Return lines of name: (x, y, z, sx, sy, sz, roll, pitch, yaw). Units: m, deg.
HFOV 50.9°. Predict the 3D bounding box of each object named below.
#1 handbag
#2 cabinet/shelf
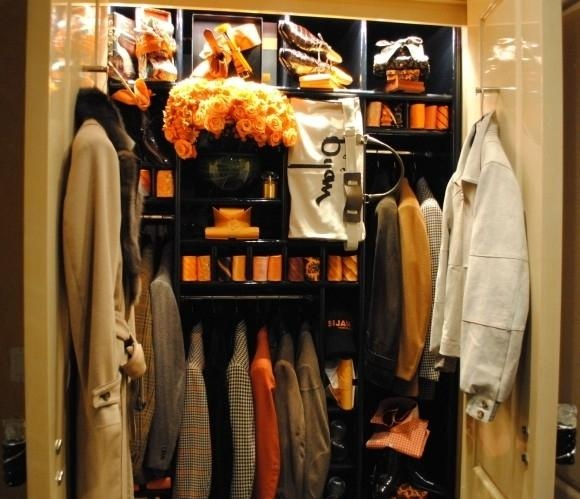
handbag: (0.239, -0.344, 2.746, 0.551, 0.900, 0.317, 1, -2, -7)
cabinet/shelf: (0.032, 0.028, 2.880, 1.455, 2.312, 0.747, 0, 5, -15)
